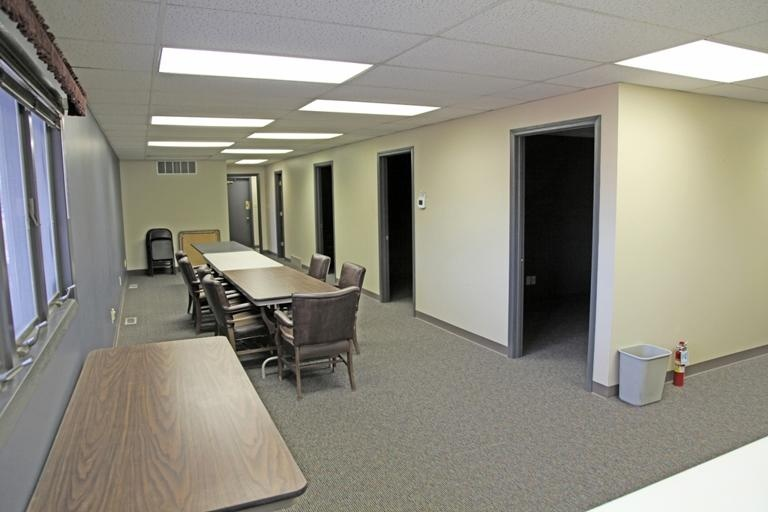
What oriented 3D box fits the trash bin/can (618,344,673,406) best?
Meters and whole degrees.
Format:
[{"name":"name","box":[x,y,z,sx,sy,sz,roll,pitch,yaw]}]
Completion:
[{"name":"trash bin/can","box":[2.247,1.020,4.312,0.439,0.439,0.296,-8,14,-29]}]

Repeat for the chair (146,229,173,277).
[{"name":"chair","box":[-4.583,-0.098,10.145,0.537,0.935,0.292,-7,14,-26]}]
